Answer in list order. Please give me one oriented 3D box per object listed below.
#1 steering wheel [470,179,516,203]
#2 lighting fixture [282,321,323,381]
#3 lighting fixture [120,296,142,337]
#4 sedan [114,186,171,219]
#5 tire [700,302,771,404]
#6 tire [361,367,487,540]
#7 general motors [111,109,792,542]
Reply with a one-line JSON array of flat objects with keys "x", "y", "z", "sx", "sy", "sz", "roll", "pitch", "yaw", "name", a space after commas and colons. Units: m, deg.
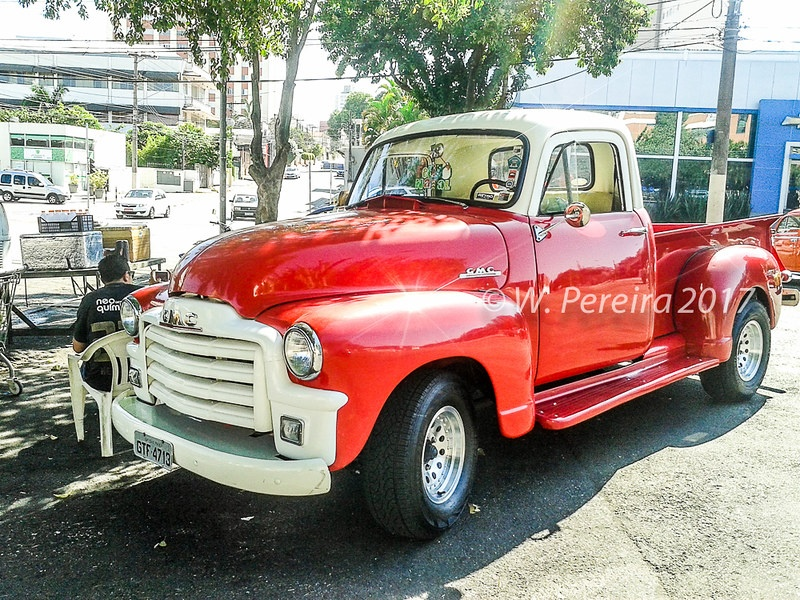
[{"x": 0.761, "y": -0.875, "z": 5.036, "sx": 0.284, "sy": 0.104, "sz": 0.215, "roll": -5, "pitch": 14, "yaw": 19, "name": "steering wheel"}, {"x": -0.560, "y": 0.303, "z": 3.661, "sx": 0.243, "sy": 0.311, "sz": 0.102, "roll": 8, "pitch": 14, "yaw": 33, "name": "lighting fixture"}, {"x": -2.029, "y": 0.114, "z": 4.690, "sx": 0.259, "sy": 0.313, "sz": 0.102, "roll": -13, "pitch": -8, "yaw": 39, "name": "lighting fixture"}, {"x": -15.189, "y": -5.724, "z": 37.396, "sx": 2.028, "sy": 1.430, "sz": 3.251, "roll": -1, "pitch": 2, "yaw": 3, "name": "sedan"}, {"x": 3.489, "y": 0.529, "z": 6.513, "sx": 0.889, "sy": 0.915, "sz": 0.308, "roll": -13, "pitch": 14, "yaw": -38, "name": "tire"}, {"x": 0.129, "y": 0.985, "z": 4.007, "sx": 0.286, "sy": 0.849, "sz": 0.835, "roll": -1, "pitch": 36, "yaw": 40, "name": "tire"}, {"x": 1.047, "y": -0.050, "z": 5.535, "sx": 6.080, "sy": 2.186, "sz": 2.649, "roll": -6, "pitch": 4, "yaw": -41, "name": "general motors"}]
